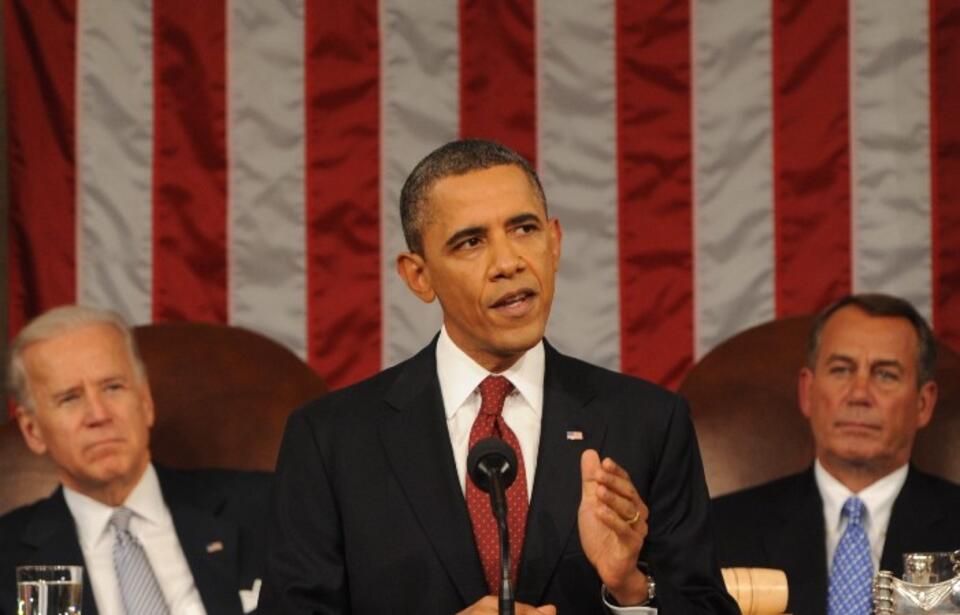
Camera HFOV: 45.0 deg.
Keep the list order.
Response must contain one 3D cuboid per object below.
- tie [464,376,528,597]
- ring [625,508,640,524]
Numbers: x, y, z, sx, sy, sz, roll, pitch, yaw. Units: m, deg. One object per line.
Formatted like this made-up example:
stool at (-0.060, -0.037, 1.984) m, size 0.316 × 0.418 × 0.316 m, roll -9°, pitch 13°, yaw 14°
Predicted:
tie at (0.063, 0.670, 4.367) m, size 0.184 × 0.801 × 0.136 m, roll 2°, pitch -38°, yaw -2°
ring at (0.533, 0.740, 4.078) m, size 0.046 × 0.021 × 0.056 m, roll -7°, pitch -26°, yaw -23°
